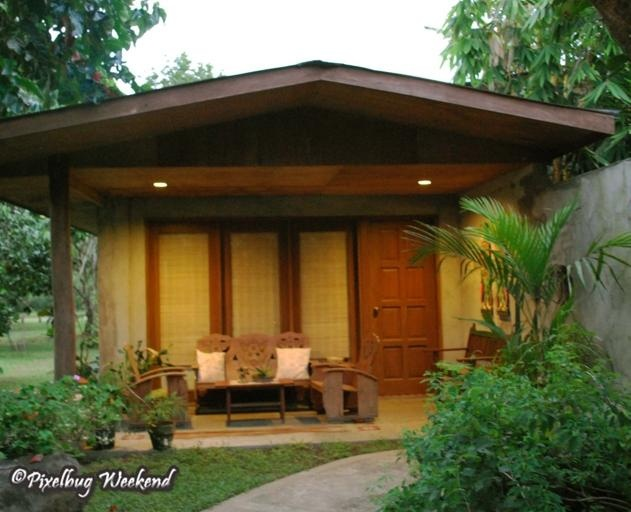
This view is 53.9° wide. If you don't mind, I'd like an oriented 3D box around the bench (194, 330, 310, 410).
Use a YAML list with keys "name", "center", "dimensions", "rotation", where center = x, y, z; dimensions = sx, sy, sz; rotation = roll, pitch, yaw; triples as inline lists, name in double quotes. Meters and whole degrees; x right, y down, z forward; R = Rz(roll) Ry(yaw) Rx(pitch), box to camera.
- name: "bench"
  center: [-0.817, 1.589, 8.358]
  dimensions: [1.500, 0.972, 0.858]
  rotation: [1, -2, -8]

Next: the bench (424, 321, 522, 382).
- name: "bench"
  center: [2.014, 1.458, 8.314]
  dimensions: [0.750, 1.063, 1.747]
  rotation: [-1, -7, -1]

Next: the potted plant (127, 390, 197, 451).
- name: "potted plant"
  center: [-1.752, 1.824, 7.069]
  dimensions: [0.670, 0.755, 0.744]
  rotation: [-6, -9, 27]

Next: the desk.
- name: "desk"
  center: [-0.762, 2.082, 8.157]
  dimensions: [0.889, 0.494, 0.613]
  rotation: [1, -11, -7]

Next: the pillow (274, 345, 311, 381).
- name: "pillow"
  center: [-0.305, 1.469, 8.456]
  dimensions: [0.474, 0.466, 0.195]
  rotation: [-1, 4, -5]

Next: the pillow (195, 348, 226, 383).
- name: "pillow"
  center: [-1.379, 1.464, 8.240]
  dimensions: [0.373, 0.363, 0.113]
  rotation: [2, -24, -7]

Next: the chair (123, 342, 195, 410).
- name: "chair"
  center: [-1.997, 1.540, 7.855]
  dimensions: [0.818, 0.817, 0.768]
  rotation: [-4, -1, 14]

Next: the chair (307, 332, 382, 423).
- name: "chair"
  center: [0.427, 1.649, 8.594]
  dimensions: [0.774, 1.090, 1.443]
  rotation: [-1, -5, -8]
